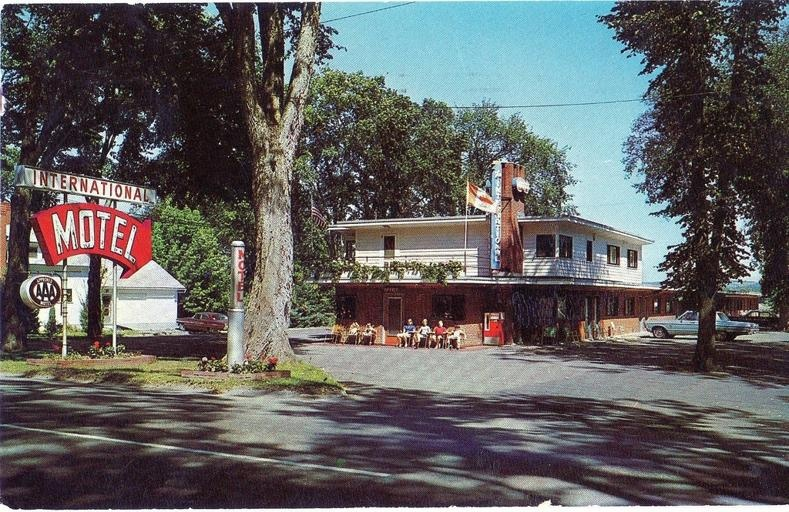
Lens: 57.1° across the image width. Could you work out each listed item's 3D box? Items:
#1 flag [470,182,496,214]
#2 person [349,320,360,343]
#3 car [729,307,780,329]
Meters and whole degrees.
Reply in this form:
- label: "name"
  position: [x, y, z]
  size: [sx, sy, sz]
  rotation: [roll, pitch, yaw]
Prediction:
- label: "flag"
  position: [5.238, -3.444, 44.019]
  size: [0.948, 1.687, 2.768]
  rotation: [5, 4, 30]
- label: "person"
  position: [-2.670, 5.023, 46.701]
  size: [0.690, 1.155, 0.688]
  rotation: [2, 4, -8]
- label: "car"
  position: [32.957, 5.699, 66.377]
  size: [4.272, 1.438, 1.650]
  rotation: [-1, 0, 3]
